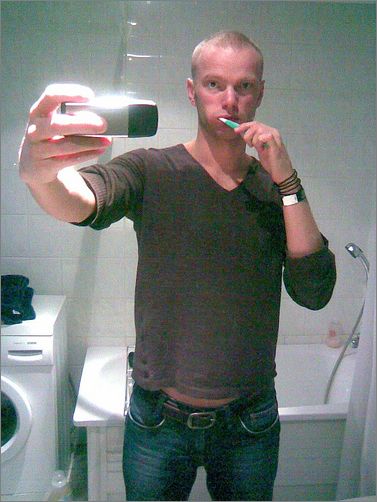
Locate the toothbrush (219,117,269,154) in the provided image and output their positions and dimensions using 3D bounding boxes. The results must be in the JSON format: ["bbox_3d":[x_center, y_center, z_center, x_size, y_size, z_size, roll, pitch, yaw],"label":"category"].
[{"bbox_3d":[0.068,-0.212,0.880,0.031,0.025,0.215,9,17,-31],"label":"toothbrush"}]

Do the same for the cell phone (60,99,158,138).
[{"bbox_3d":[-0.092,-0.178,0.655,0.101,0.051,0.180,5,12,8],"label":"cell phone"}]

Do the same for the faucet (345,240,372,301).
[{"bbox_3d":[0.427,0.042,1.230,0.072,0.168,0.031,13,59,45],"label":"faucet"}]

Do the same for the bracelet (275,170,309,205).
[{"bbox_3d":[0.180,-0.105,0.859,0.050,0.059,0.031,-12,-4,-9],"label":"bracelet"}]
